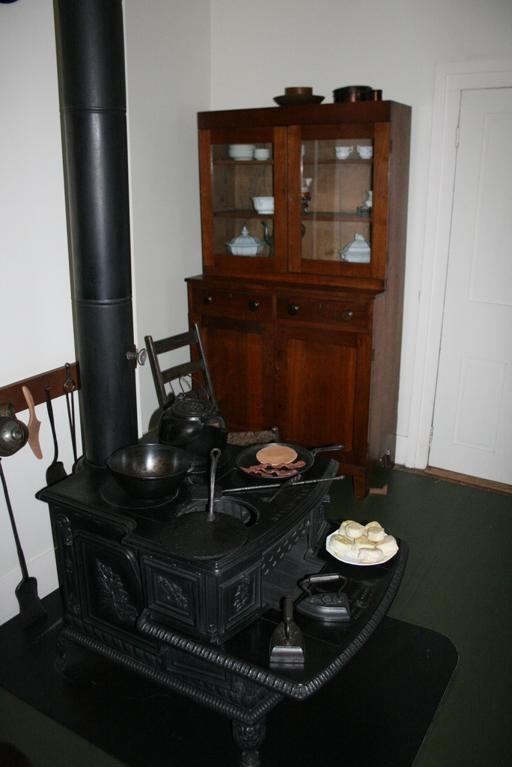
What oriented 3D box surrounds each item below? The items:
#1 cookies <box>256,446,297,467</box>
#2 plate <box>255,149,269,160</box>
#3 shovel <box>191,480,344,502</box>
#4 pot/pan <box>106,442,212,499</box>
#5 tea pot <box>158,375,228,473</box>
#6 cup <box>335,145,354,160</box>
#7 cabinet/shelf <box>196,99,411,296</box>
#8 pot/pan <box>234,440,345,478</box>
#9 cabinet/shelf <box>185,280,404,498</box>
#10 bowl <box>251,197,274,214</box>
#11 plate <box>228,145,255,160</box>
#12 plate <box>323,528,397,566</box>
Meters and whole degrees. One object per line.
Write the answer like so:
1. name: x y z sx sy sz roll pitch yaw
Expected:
1. cookies: 0.060 0.210 1.749 0.062 0.012 0.063 -12 32 -23
2. plate: 0.024 -1.120 2.902 0.060 0.046 0.062 5 31 6
3. shovel: 0.058 0.267 1.572 0.337 0.043 0.069 -3 15 -15
4. pot/pan: -0.276 0.230 1.551 0.221 0.111 0.279 1 15 -1
5. tea pot: -0.195 0.119 1.770 0.207 0.232 0.223 1 12 0
6. cup: 0.388 -1.037 2.678 0.053 0.046 0.068 14 28 34
7. cabinet/shelf: 0.260 -0.887 2.832 0.898 0.787 0.321 7 20 23
8. pot/pan: 0.075 0.193 1.706 0.267 0.088 0.237 -3 15 -14
9. cabinet/shelf: 0.193 -0.042 3.206 1.025 1.020 0.395 10 24 29
10. bowl: 0.034 -0.886 2.980 0.095 0.061 0.097 -2 19 1
11. plate: -0.073 -1.148 2.963 0.096 0.061 0.093 0 33 -4
12. plate: 0.288 0.448 1.605 0.202 0.056 0.127 3 15 5
